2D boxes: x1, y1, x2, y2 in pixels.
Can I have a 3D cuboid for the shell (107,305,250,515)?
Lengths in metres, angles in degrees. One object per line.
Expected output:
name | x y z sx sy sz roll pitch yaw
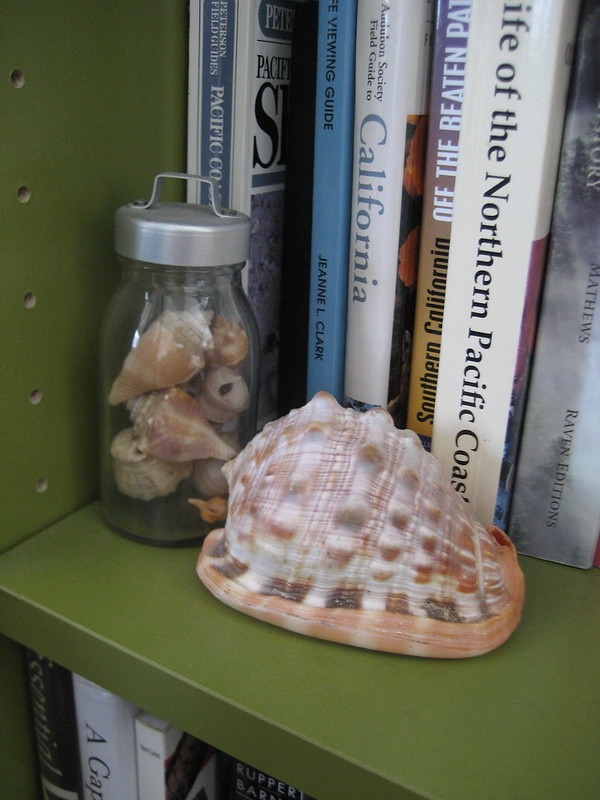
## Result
shell | -0.074 0.004 0.460 0.056 0.111 0.088 -4 22 -28

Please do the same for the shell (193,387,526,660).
shell | 0.034 0.063 0.389 0.176 0.108 0.109 -1 23 -8
